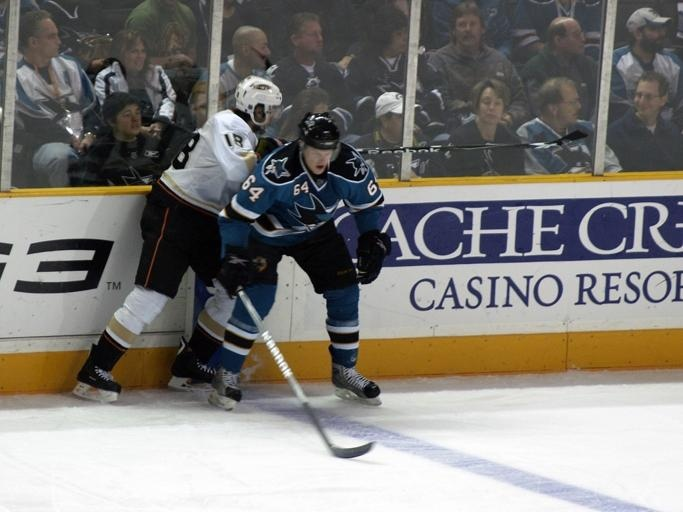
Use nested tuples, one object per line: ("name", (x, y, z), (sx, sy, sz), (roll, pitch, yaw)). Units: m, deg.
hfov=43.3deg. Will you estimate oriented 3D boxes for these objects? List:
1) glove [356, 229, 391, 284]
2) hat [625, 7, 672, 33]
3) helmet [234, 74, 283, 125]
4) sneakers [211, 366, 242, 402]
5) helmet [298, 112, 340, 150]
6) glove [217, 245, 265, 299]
("glove", (0.151, -0.008, 4.649), (0.159, 0.137, 0.345), (3, 39, 22))
("hat", (1.873, -1.446, 5.245), (0.232, 0.105, 0.138), (-4, 20, 15))
("helmet", (-0.469, -0.865, 4.789), (0.285, 0.252, 0.206), (4, 24, -27))
("sneakers", (-0.626, 0.682, 4.703), (0.132, 0.092, 0.213), (29, 2, -35))
("helmet", (-0.115, -0.653, 4.382), (0.221, 0.166, 0.280), (0, 21, -5))
("glove", (-0.552, 0.061, 4.446), (0.257, 0.242, 0.082), (35, -24, -31))
